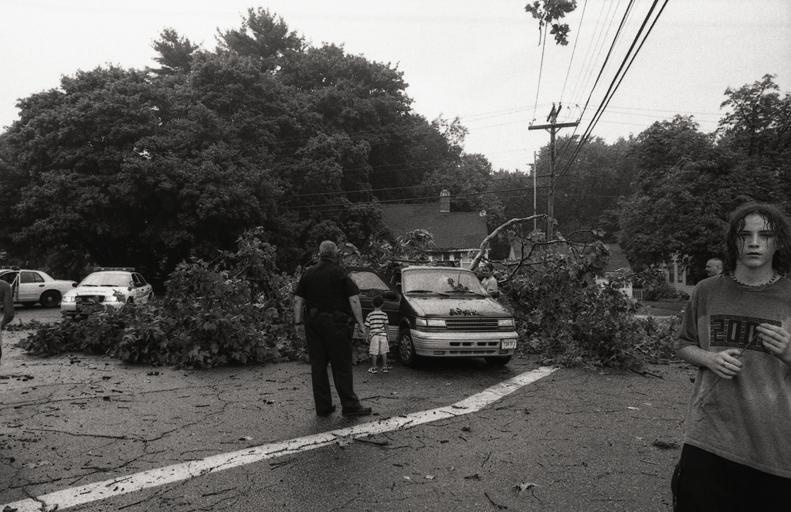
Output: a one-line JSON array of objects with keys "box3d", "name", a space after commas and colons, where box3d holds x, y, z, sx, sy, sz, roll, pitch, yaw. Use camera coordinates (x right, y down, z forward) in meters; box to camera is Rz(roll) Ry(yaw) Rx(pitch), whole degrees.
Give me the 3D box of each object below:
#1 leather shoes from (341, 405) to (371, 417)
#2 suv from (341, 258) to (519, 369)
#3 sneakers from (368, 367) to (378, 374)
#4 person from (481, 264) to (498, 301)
[{"box3d": [-0.562, 2.192, 8.881, 0.402, 0.162, 0.157, -1, -3, -12], "name": "leather shoes"}, {"box3d": [0.611, 1.151, 12.957, 1.759, 1.427, 3.518, 0, -8, -21], "name": "suv"}, {"box3d": [-0.417, 2.091, 11.419, 0.078, 0.085, 0.205, 1, 3, -17], "name": "sneakers"}, {"box3d": [2.222, 0.637, 14.727, 0.426, 1.037, 0.511, -6, -23, 10], "name": "person"}]
